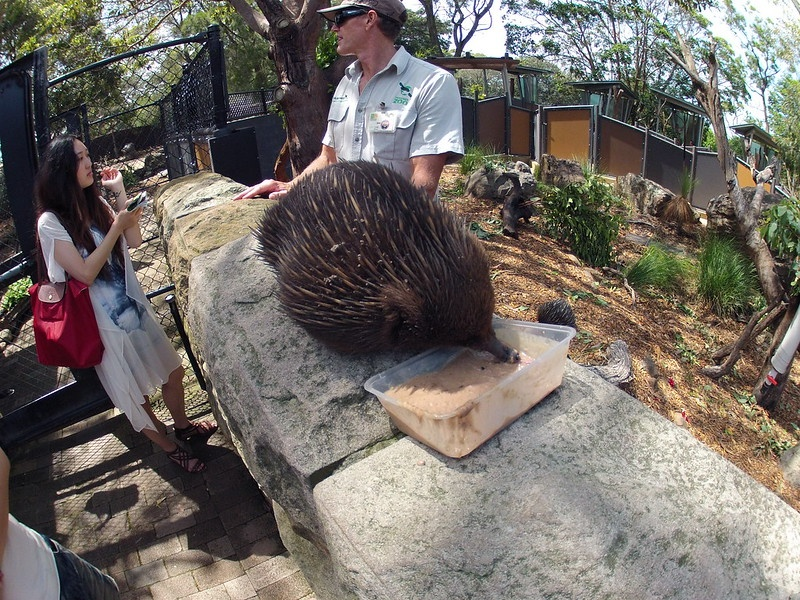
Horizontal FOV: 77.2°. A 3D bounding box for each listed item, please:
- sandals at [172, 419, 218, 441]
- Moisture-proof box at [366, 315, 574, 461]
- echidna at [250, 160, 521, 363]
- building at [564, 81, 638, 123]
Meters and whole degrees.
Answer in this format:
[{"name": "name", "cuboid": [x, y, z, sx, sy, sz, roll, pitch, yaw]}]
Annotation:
[{"name": "sandals", "cuboid": [-1.691, 1.095, 4.176, 0.279, 0.135, 0.156, -4, 15, -23]}, {"name": "Moisture-proof box", "cuboid": [0.346, 0.399, 2.455, 0.969, 0.449, 0.515, -16, 28, -29]}, {"name": "echidna", "cuboid": [-0.127, -0.055, 2.508, 0.777, 0.646, 1.216, -37, 76, -28]}, {"name": "building", "cuboid": [8.134, -7.673, 19.525, 1.898, 1.570, 2.727, 10, 27, 23]}]
